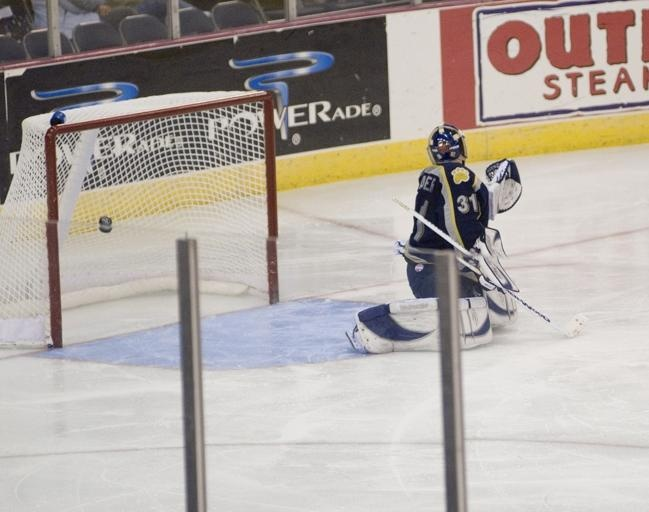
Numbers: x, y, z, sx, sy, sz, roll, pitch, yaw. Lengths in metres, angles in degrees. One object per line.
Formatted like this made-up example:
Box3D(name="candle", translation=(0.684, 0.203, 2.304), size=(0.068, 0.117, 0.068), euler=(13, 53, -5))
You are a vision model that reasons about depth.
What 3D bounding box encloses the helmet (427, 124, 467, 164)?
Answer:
Box3D(name="helmet", translation=(0.696, -0.641, 8.460), size=(0.264, 0.208, 0.189), euler=(-10, 15, -1))
